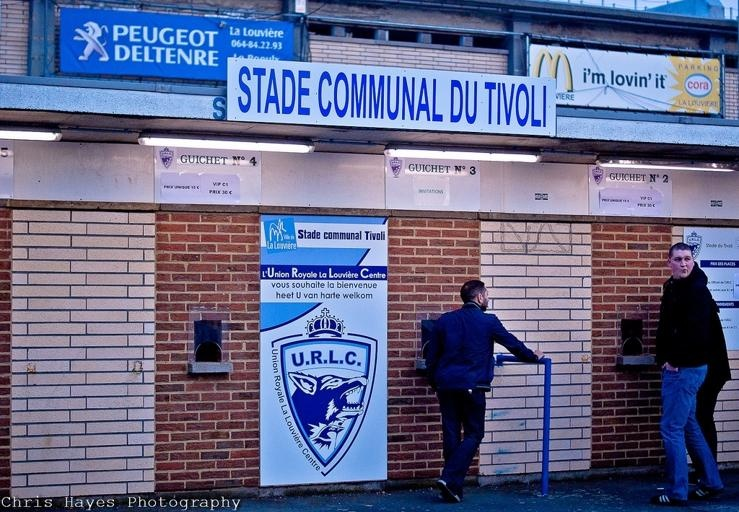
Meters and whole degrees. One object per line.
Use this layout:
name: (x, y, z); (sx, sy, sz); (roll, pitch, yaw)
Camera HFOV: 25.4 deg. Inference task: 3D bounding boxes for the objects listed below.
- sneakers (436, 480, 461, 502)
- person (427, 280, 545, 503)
sneakers: (1.022, 2.967, 20.798); (0.161, 0.164, 0.429); (-5, -30, 22)
person: (1.311, 1.721, 20.917); (1.034, 2.733, 0.713); (-3, 12, -22)
